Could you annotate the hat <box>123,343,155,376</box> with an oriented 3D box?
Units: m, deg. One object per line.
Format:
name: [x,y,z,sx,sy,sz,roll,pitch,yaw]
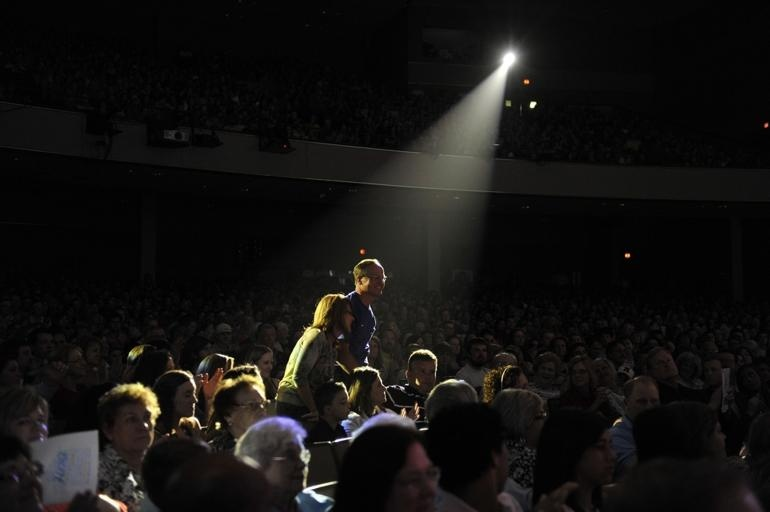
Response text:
hat: [-2.230,0.948,5.502,0.171,0.283,0.459,8,-7,-34]

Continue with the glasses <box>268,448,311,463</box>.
glasses: [-0.463,0.977,2.982,0.145,0.041,0.136,-6,-11,6]

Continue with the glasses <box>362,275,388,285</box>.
glasses: [-0.064,0.227,5.706,0.170,0.065,0.387,2,-5,20]

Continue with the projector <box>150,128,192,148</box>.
projector: [-3.454,-1.920,9.897,0.459,0.157,0.347,-1,0,31]

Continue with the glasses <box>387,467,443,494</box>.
glasses: [0.137,0.972,2.727,0.156,0.141,0.112,-7,-3,-7]

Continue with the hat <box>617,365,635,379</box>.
hat: [2.670,1.295,6.783,0.184,0.128,0.173,4,-19,-7]
